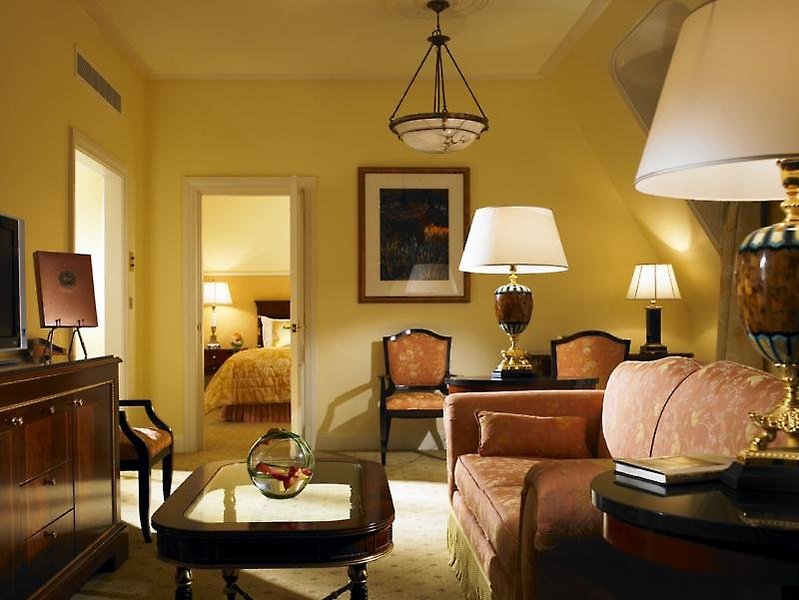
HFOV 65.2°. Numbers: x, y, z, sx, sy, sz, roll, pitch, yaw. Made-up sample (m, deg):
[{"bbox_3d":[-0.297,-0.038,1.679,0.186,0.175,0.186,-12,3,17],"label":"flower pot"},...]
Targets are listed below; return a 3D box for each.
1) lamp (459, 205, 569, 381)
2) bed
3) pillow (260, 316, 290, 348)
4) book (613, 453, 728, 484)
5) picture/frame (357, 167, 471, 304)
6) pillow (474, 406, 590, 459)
[{"bbox_3d":[0.656,-0.079,3.651,0.658,1.005,0.660,-1,1,-27],"label":"lamp"},{"bbox_3d":[-1.722,0.779,7.545,1.106,1.026,1.567,0,-3,0],"label":"bed"},{"bbox_3d":[-1.759,0.472,8.928,0.481,0.548,0.160,-3,-17,16],"label":"pillow"},{"bbox_3d":[0.718,0.431,1.595,0.136,0.019,0.113,-2,-1,-18],"label":"book"},{"bbox_3d":[0.091,-0.565,5.394,1.170,1.428,0.070,0,-1,-3],"label":"picture/frame"},{"bbox_3d":[0.654,0.658,2.979,0.571,0.273,0.166,-5,-6,28],"label":"pillow"}]
